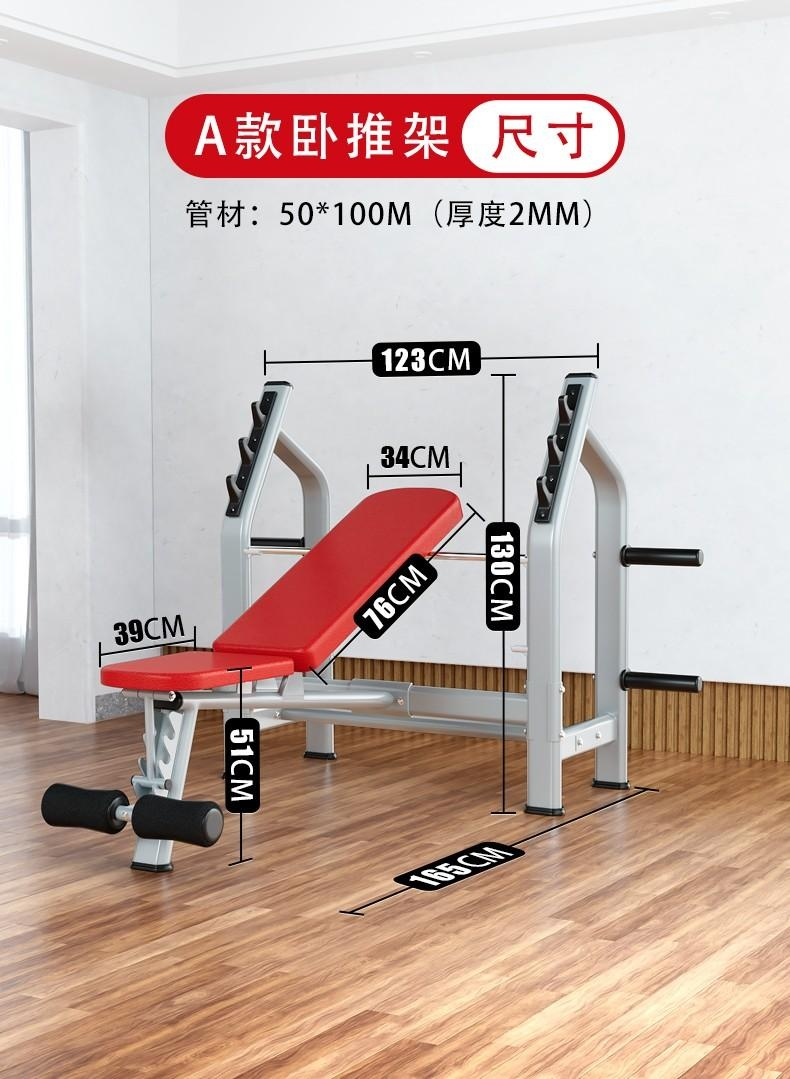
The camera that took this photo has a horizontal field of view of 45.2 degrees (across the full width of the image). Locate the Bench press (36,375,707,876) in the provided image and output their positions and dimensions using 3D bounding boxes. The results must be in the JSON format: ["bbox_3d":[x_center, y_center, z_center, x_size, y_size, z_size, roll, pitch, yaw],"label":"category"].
[{"bbox_3d":[-0.051,0.233,2.585,1.439,1.026,1.471,2,1,28],"label":"Bench press"}]
